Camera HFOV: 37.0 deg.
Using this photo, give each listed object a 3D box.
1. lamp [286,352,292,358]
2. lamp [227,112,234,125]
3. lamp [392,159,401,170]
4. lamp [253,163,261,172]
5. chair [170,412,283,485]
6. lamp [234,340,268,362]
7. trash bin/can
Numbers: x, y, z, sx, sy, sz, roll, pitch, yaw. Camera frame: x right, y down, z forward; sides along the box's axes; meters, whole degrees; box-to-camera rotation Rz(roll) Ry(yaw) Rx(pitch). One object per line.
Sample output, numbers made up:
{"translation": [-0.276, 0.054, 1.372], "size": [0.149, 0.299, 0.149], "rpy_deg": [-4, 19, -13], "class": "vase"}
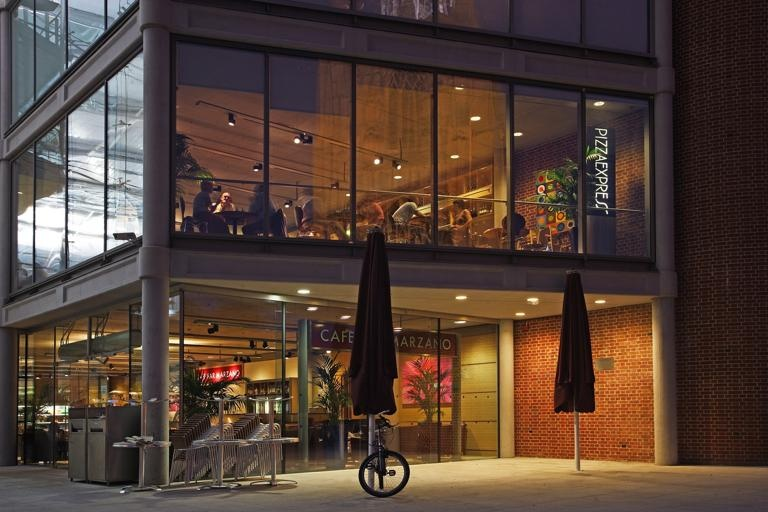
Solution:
{"translation": [-2.433, 2.569, 29.791], "size": [0.141, 0.129, 0.075], "rpy_deg": [7, -13, -36], "class": "lamp"}
{"translation": [-3.715, -3.356, 28.377], "size": [0.204, 0.349, 0.065], "rpy_deg": [1, -14, -7], "class": "lamp"}
{"translation": [0.372, -2.324, 29.451], "size": [0.239, 0.242, 0.194], "rpy_deg": [-5, -8, 35], "class": "lamp"}
{"translation": [-3.077, -2.178, 28.467], "size": [0.239, 0.207, 0.064], "rpy_deg": [0, -14, -5], "class": "lamp"}
{"translation": [-3.807, 4.656, 27.619], "size": [2.315, 1.054, 1.681], "rpy_deg": [10, -18, -37], "class": "chair"}
{"translation": [-3.352, 2.438, 29.366], "size": [0.510, 0.309, 0.692], "rpy_deg": [-1, -2, 31], "class": "lamp"}
{"translation": [-6.641, 4.616, 27.835], "size": [0.941, 1.628, 1.704], "rpy_deg": [9, -16, -38], "class": "trash bin/can"}
